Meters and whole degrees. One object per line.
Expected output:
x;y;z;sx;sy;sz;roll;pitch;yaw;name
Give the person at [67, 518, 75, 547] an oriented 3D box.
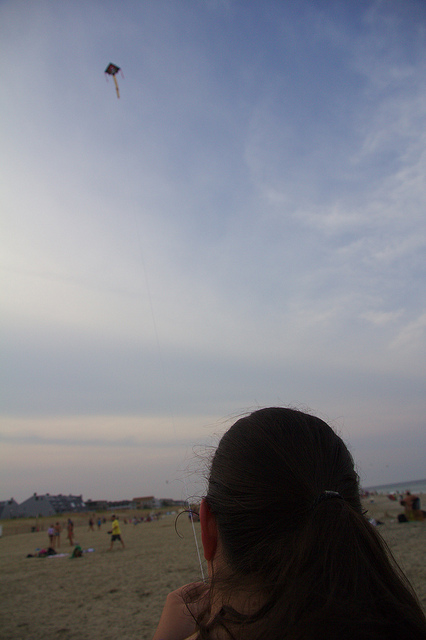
-3.719;5.570;12.686;0.126;0.719;0.403;-2;-10;-4;person
